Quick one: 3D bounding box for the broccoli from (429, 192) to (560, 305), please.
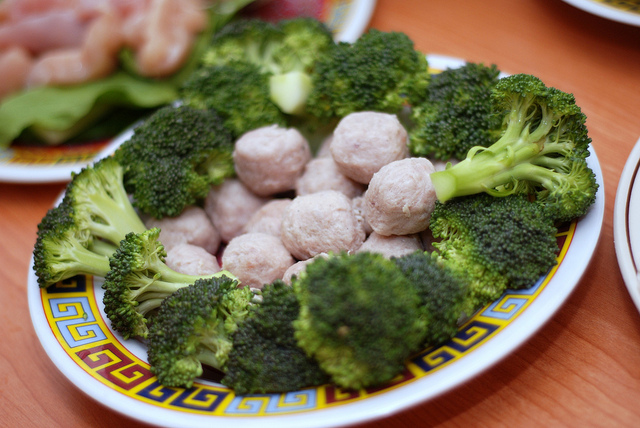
[{"bbox_3d":[0.454,0.065,1.401,0.287,0.110,0.296,-47,67,-2],"label":"broccoli"}]

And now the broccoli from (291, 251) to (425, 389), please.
[{"bbox_3d":[0.096,0.259,1.318,0.316,0.085,0.316,-4,72,-4],"label":"broccoli"}]

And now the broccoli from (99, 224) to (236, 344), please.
[{"bbox_3d":[-0.459,0.168,1.524,0.268,0.216,0.203,12,100,18],"label":"broccoli"}]

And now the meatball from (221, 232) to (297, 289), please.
[{"bbox_3d":[-0.178,0.120,1.611,0.190,0.159,0.155,-2,99,9],"label":"meatball"}]

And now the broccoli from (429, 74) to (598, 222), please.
[{"bbox_3d":[0.566,-0.167,1.446,0.305,0.403,0.444,-20,34,-29],"label":"broccoli"}]

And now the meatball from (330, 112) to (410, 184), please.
[{"bbox_3d":[0.158,-0.201,1.607,0.204,0.128,0.201,5,78,13],"label":"meatball"}]

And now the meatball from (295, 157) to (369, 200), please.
[{"bbox_3d":[0.024,-0.091,1.651,0.158,0.139,0.099,3,78,27],"label":"meatball"}]

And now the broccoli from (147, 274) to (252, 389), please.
[{"bbox_3d":[-0.325,0.286,1.412,0.283,0.202,0.273,-4,97,-16],"label":"broccoli"}]

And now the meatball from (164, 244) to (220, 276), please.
[{"bbox_3d":[-0.370,0.127,1.574,0.121,0.111,0.094,-5,104,-17],"label":"meatball"}]

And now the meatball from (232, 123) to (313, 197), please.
[{"bbox_3d":[-0.142,-0.176,1.639,0.211,0.128,0.220,14,112,43],"label":"meatball"}]

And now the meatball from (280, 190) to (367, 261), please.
[{"bbox_3d":[0.001,0.042,1.568,0.194,0.121,0.215,-10,70,2],"label":"meatball"}]

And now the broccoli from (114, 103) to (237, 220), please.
[{"bbox_3d":[-0.431,-0.174,1.718,0.360,0.251,0.319,-41,40,-9],"label":"broccoli"}]

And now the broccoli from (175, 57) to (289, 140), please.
[{"bbox_3d":[-0.276,-0.374,1.732,0.272,0.092,0.263,10,72,8],"label":"broccoli"}]

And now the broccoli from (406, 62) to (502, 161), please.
[{"bbox_3d":[0.407,-0.306,1.592,0.263,0.116,0.309,-25,43,23],"label":"broccoli"}]

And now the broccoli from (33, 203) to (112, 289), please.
[{"bbox_3d":[-0.740,0.114,1.583,0.260,0.134,0.193,22,70,9],"label":"broccoli"}]

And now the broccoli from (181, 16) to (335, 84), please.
[{"bbox_3d":[-0.165,-0.566,1.755,0.375,0.148,0.255,-11,109,-12],"label":"broccoli"}]
